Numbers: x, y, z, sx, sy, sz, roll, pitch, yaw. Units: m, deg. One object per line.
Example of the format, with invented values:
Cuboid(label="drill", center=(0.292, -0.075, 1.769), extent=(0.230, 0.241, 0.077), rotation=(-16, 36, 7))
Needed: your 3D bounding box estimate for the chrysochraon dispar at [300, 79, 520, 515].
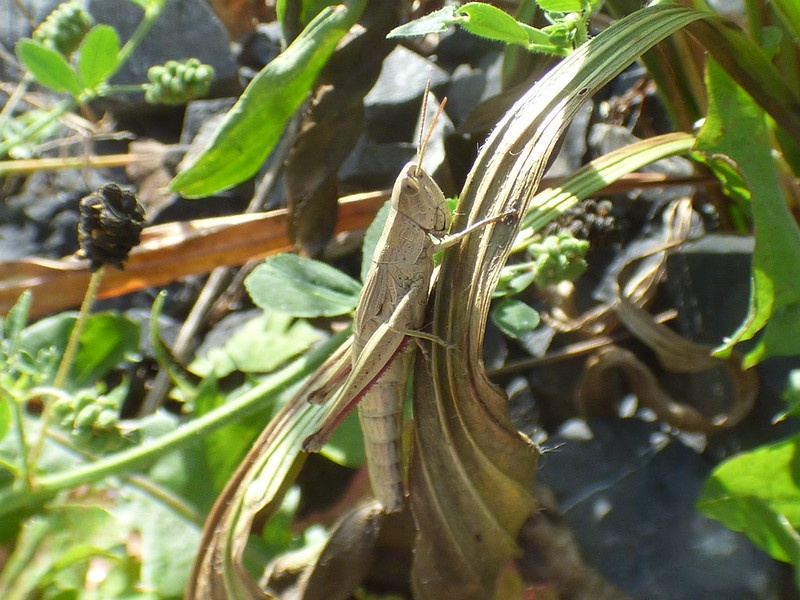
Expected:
Cuboid(label="chrysochraon dispar", center=(0.004, 0.067, 0.995), extent=(0.147, 0.128, 0.425), rotation=(34, 34, -2))
